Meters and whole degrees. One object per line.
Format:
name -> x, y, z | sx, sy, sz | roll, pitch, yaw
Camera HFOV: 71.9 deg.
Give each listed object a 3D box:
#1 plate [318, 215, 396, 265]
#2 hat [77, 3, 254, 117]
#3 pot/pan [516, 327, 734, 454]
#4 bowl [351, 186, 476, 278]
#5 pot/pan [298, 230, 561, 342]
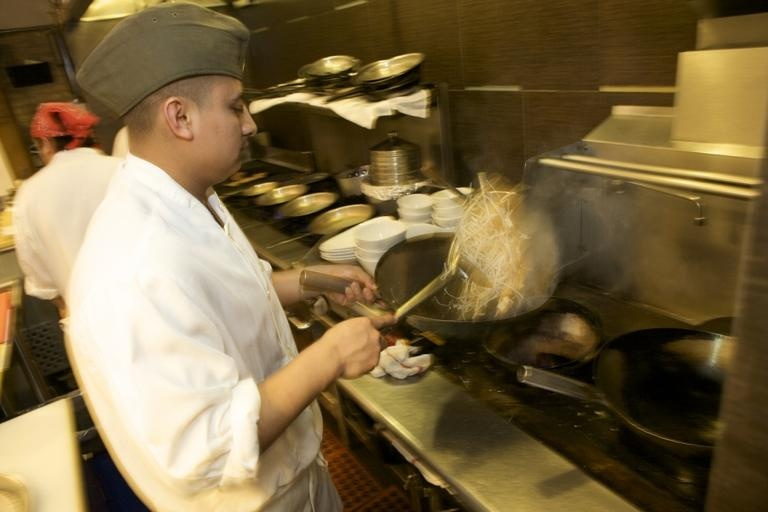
plate -> -0.106, -0.039, 2.121 | 0.230, 0.051, 0.191 | -25, 19, -3
hat -> -0.534, -0.465, 1.279 | 0.389, 0.187, 0.251 | -8, 24, -11
pot/pan -> 0.609, 0.302, 1.338 | 0.413, 0.183, 0.394 | 7, 25, 29
bowl -> 0.119, -0.138, 2.094 | 0.504, 0.177, 0.306 | -21, 27, -21
pot/pan -> 0.159, 0.089, 1.736 | 0.507, 0.143, 0.480 | -4, 17, 31
